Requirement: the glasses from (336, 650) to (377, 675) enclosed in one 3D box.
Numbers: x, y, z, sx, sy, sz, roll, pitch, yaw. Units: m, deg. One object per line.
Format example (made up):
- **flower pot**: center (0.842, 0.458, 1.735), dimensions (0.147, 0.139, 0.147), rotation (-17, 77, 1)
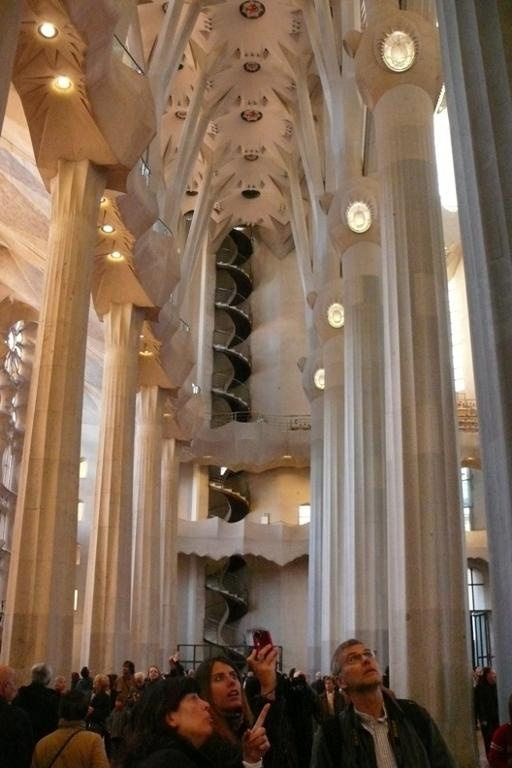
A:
- **glasses**: center (0.260, 0.702, 1.713), dimensions (0.059, 0.046, 0.082), rotation (6, -34, -16)
